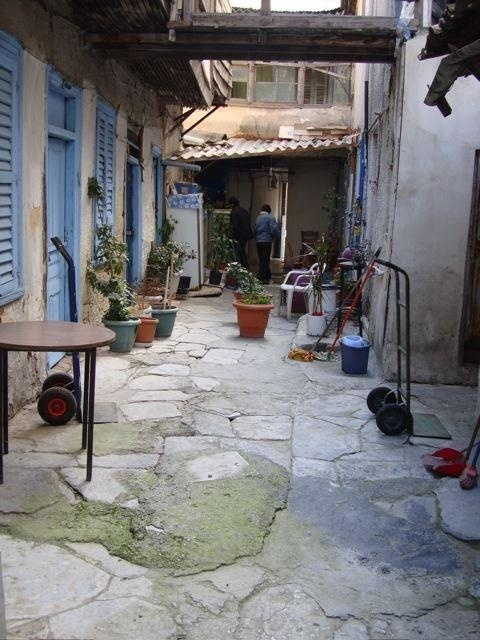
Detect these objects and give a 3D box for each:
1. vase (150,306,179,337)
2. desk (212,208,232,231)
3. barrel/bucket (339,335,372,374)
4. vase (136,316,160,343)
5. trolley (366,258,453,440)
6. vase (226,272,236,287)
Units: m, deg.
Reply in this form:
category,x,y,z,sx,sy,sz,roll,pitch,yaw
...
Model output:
category,x,y,z,sx,sy,sz,roll,pitch,yaw
vase,-1.084,0.028,7.539,0.389,0.339,0.405,-3,5,-39
desk,-0.514,-2.784,14.527,0.472,0.693,1.590,2,8,-2
barrel/bucket,1.250,0.411,6.001,0.328,0.393,0.396,0,2,-11
vase,-1.233,0.133,7.031,0.295,0.266,0.308,3,4,-15
trolley,1.362,0.186,4.259,0.543,1.394,0.713,0,5,12
vase,-0.229,-1.039,13.895,0.282,0.317,0.292,1,1,-5
